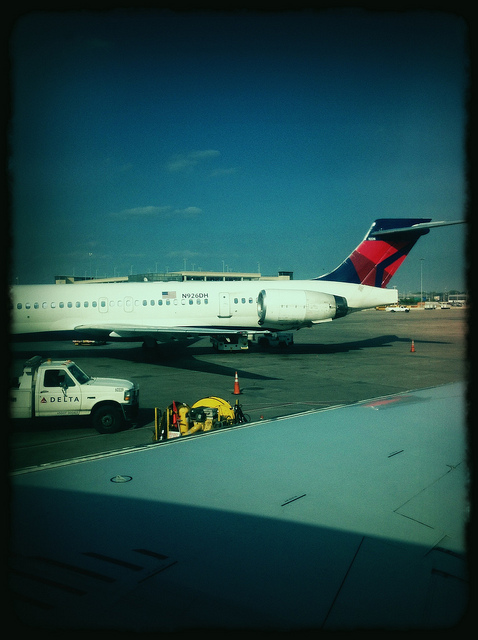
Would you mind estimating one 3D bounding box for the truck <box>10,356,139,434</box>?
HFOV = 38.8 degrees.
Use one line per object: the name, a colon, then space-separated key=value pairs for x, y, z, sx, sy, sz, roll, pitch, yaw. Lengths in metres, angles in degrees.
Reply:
truck: x=-3.124 y=1.486 z=13.225 sx=2.275 sy=0.986 sz=1.296 roll=-2 pitch=3 yaw=-10
